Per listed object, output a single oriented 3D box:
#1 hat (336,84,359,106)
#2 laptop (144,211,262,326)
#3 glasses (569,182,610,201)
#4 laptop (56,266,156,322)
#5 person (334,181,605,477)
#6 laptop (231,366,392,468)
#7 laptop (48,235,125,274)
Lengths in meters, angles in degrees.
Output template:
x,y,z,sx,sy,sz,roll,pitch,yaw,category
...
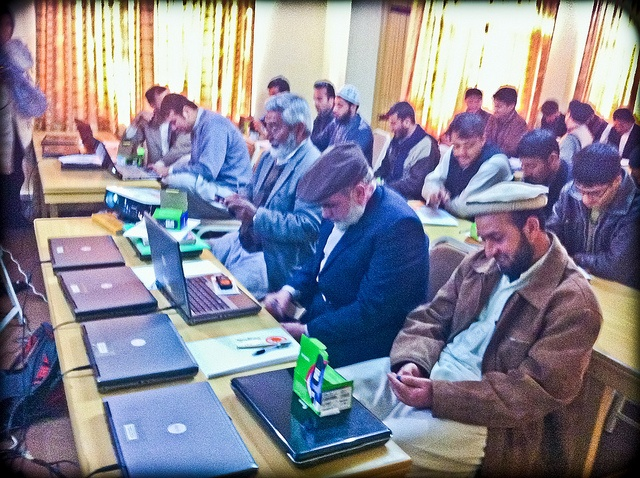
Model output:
x,y,z,sx,sy,sz,roll,pitch,yaw,category
0.138,-0.685,2.319,0.114,0.049,0.107,21,14,-7,hat
-0.510,0.105,2.031,0.375,0.326,0.514,-6,17,-39,laptop
0.878,-0.146,1.541,0.067,0.035,0.062,-34,21,-21,glasses
-0.854,0.213,1.924,0.233,0.048,0.293,-4,25,-30,laptop
0.693,0.238,2.507,1.157,1.850,0.917,0,15,-5,person
-0.050,0.538,1.503,0.345,0.064,0.482,-1,12,-29,laptop
-1.112,0.065,2.287,0.312,0.024,0.331,-11,29,-35,laptop
